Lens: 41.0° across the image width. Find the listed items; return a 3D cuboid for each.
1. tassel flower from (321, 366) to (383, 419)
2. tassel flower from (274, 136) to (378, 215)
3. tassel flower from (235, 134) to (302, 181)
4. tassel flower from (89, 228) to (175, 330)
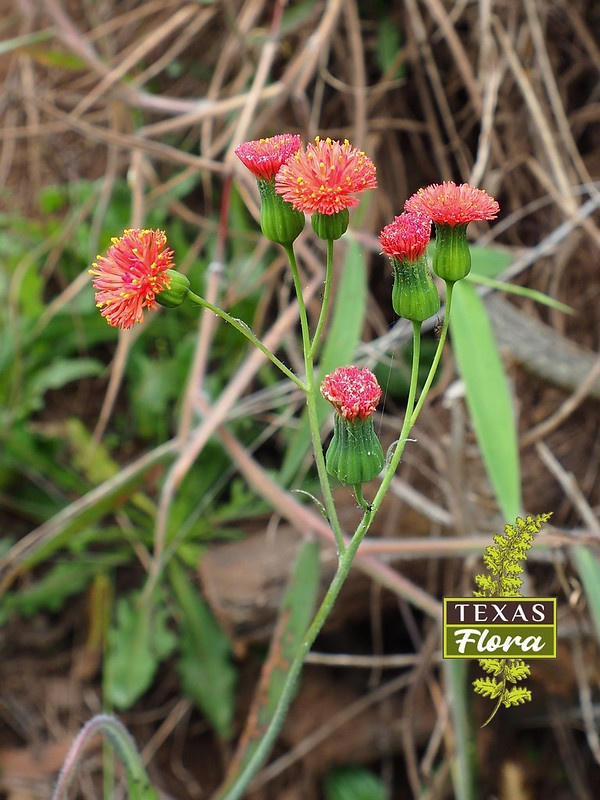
[{"bbox_3d":[0.036,-0.006,0.555,0.040,0.021,0.037,10,68,4],"label":"tassel flower"},{"bbox_3d":[0.017,-0.154,0.548,0.061,0.019,0.060,33,68,13],"label":"tassel flower"},{"bbox_3d":[-0.023,-0.180,0.613,0.044,0.025,0.039,-8,19,21],"label":"tassel flower"},{"bbox_3d":[-0.119,-0.095,0.578,0.059,0.063,0.035,-20,59,-42],"label":"tassel flower"}]
